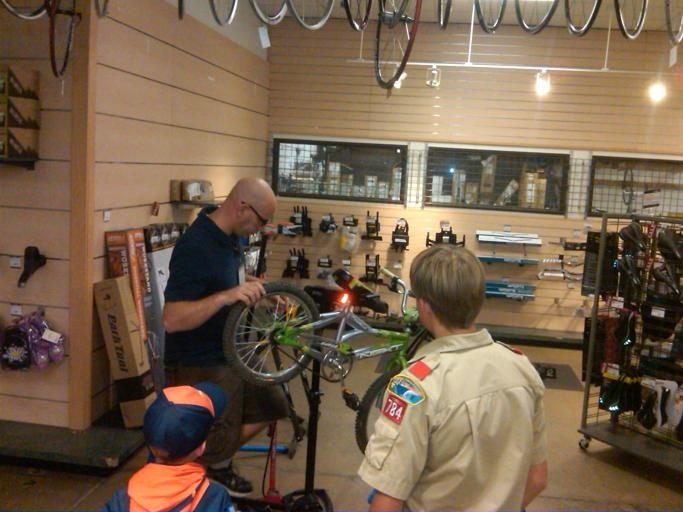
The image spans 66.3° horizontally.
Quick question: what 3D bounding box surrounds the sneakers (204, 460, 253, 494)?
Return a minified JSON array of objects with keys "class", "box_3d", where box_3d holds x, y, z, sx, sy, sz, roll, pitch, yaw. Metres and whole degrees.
[{"class":"sneakers","box_3d":[-0.868,1.709,4.042,0.492,0.225,0.185,3,-24,8]}]
